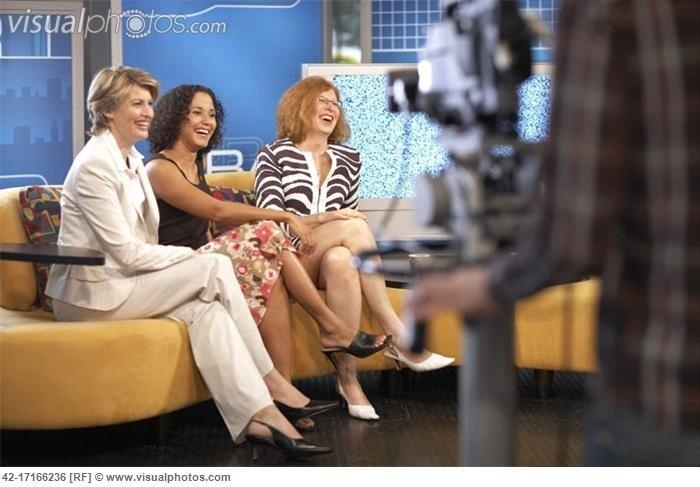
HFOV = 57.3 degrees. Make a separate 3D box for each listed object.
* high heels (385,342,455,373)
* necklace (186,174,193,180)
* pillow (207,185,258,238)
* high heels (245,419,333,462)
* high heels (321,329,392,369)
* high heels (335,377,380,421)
[{"bbox_3d":[0.243,0.411,2.328,0.206,0.090,0.113,-3,2,14],"label":"high heels"},{"bbox_3d":[-0.599,-0.248,2.387,0.021,0.022,0.021,-3,-2,23],"label":"necklace"},{"bbox_3d":[-0.513,-0.141,2.750,0.209,0.224,0.084,4,-1,18],"label":"pillow"},{"bbox_3d":[-0.178,0.571,1.906,0.296,0.169,0.101,-1,-5,-3],"label":"high heels"},{"bbox_3d":[0.038,0.342,2.195,0.250,0.095,0.098,-25,8,14],"label":"high heels"},{"bbox_3d":[0.021,0.542,2.259,0.077,0.106,0.238,-2,11,-32],"label":"high heels"}]
